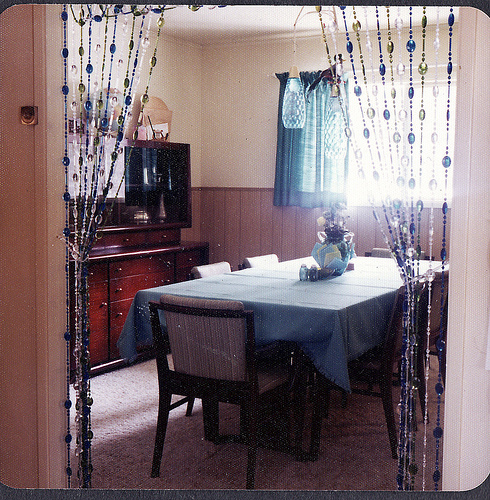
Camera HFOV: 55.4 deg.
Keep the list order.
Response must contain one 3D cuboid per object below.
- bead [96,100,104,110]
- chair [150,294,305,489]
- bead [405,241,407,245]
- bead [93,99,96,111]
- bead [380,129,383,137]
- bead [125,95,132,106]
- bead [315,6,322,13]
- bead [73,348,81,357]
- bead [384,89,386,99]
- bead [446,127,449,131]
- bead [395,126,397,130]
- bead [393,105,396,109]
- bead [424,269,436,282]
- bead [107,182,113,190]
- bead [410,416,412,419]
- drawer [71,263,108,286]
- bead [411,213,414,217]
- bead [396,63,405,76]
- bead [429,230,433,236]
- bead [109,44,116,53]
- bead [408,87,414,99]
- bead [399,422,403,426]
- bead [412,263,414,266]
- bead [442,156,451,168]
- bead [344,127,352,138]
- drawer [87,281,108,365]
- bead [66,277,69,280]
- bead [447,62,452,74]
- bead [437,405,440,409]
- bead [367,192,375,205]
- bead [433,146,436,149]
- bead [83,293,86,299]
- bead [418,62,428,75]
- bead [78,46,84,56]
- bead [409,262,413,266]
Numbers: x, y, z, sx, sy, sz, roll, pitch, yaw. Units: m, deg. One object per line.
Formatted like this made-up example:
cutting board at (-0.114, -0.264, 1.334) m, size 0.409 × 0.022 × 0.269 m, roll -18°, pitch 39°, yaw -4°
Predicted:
bead at (-0.355, -0.352, 1.129) m, size 0.019 × 0.025 × 0.022 m, roll -2°, pitch 5°, yaw -6°
chair at (-0.066, 0.311, 1.562) m, size 0.440 × 0.816 × 0.491 m, roll 1°, pitch 4°, yaw 29°
bead at (0.347, -0.016, 0.996) m, size 0.003 × 0.006 × 0.001 m, roll 2°, pitch 3°, yaw 13°
bead at (-0.365, -0.347, 1.120) m, size 0.007 × 0.027 × 0.015 m, roll -3°, pitch 5°, yaw -18°
bead at (0.298, -0.259, 1.014) m, size 0.004 × 0.021 × 0.004 m, roll 2°, pitch 7°, yaw 32°
bead at (-0.283, -0.360, 1.126) m, size 0.014 × 0.028 × 0.017 m, roll -3°, pitch 5°, yaw -16°
bead at (0.157, -0.512, 0.991) m, size 0.012 × 0.016 × 0.014 m, roll 0°, pitch 11°, yaw 20°
bead at (-0.428, 0.258, 1.174) m, size 0.018 × 0.025 × 0.019 m, roll 8°, pitch 6°, yaw 38°
bead at (0.304, -0.329, 1.005) m, size 0.003 × 0.026 × 0.003 m, roll -2°, pitch 0°, yaw -9°
bead at (0.422, -0.251, 0.965) m, size 0.003 × 0.006 × 0.003 m, roll 0°, pitch 1°, yaw 7°
bead at (0.326, -0.261, 1.002) m, size 0.003 × 0.006 × 0.003 m, roll 0°, pitch 5°, yaw 22°
bead at (0.321, -0.305, 0.992) m, size 0.004 × 0.005 × 0.002 m, roll 3°, pitch 6°, yaw 41°
bead at (0.390, 0.053, 0.981) m, size 0.021 × 0.031 × 0.048 m, roll 0°, pitch 6°, yaw 22°
bead at (-0.337, -0.158, 1.151) m, size 0.010 × 0.017 × 0.005 m, roll 4°, pitch -2°, yaw 9°
bead at (0.370, 0.370, 1.031) m, size 0.003 × 0.007 × 0.001 m, roll -1°, pitch 5°, yaw 1°
drawer at (-0.555, 0.086, 1.651) m, size 0.065 × 0.110 × 0.103 m, roll 1°, pitch 3°, yaw 34°
bead at (0.353, -0.073, 0.976) m, size 0.005 × 0.007 × 0.002 m, roll 1°, pitch 5°, yaw 24°
bead at (0.331, -0.381, 0.986) m, size 0.017 × 0.024 × 0.026 m, roll 0°, pitch 5°, yaw 16°
bead at (0.379, -0.038, 0.944) m, size 0.006 × 0.011 × 0.006 m, roll -1°, pitch 2°, yaw -19°
bead at (-0.321, -0.485, 1.122) m, size 0.012 × 0.015 × 0.026 m, roll -3°, pitch 5°, yaw -19°
bead at (0.358, -0.336, 0.998) m, size 0.007 × 0.027 × 0.017 m, roll -2°, pitch 5°, yaw -11°
bead at (0.351, 0.389, 1.042) m, size 0.003 × 0.011 × 0.008 m, roll -3°, pitch 5°, yaw -16°
bead at (0.362, 0.030, 0.997) m, size 0.004 × 0.008 × 0.004 m, roll 5°, pitch 14°, yaw 30°
bead at (0.418, -0.182, 0.961) m, size 0.020 × 0.038 × 0.018 m, roll 0°, pitch 2°, yaw 23°
bead at (0.237, -0.267, 1.061) m, size 0.014 × 0.023 × 0.012 m, roll 1°, pitch 5°, yaw 28°
drawer at (-0.684, 0.339, 2.174) m, size 0.089 × 0.370 × 0.138 m, roll -3°, pitch 5°, yaw -18°
bead at (-0.437, 0.068, 1.134) m, size 0.005 × 0.007 × 0.005 m, roll 3°, pitch -5°, yaw -34°
bead at (0.418, -0.368, 0.947) m, size 0.008 × 0.024 × 0.027 m, roll 0°, pitch 5°, yaw 21°
bead at (0.441, 0.355, 1.056) m, size 0.005 × 0.011 × 0.009 m, roll 0°, pitch 5°, yaw 18°
bead at (0.277, -0.113, 1.024) m, size 0.015 × 0.027 × 0.063 m, roll -1°, pitch 5°, yaw 6°
bead at (0.400, -0.216, 0.977) m, size 0.007 × 0.006 × 0.002 m, roll 10°, pitch 12°, yaw 20°
bead at (-0.397, 0.114, 1.146) m, size 0.006 × 0.008 × 0.007 m, roll 4°, pitch 0°, yaw 18°
bead at (0.368, -0.372, 0.959) m, size 0.018 × 0.029 × 0.019 m, roll 1°, pitch 5°, yaw 26°
bead at (-0.396, -0.475, 1.115) m, size 0.010 × 0.020 × 0.004 m, roll 2°, pitch 4°, yaw -1°
bead at (0.358, 0.030, 0.998) m, size 0.007 × 0.007 × 0.002 m, roll -1°, pitch 5°, yaw 10°
